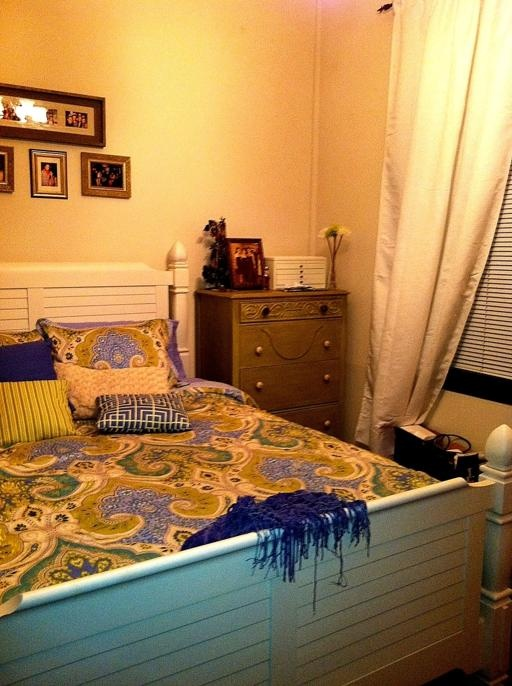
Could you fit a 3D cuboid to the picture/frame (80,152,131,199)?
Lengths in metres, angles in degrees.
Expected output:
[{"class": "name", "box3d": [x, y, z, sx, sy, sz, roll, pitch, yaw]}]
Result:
[{"class": "picture/frame", "box3d": [-0.825, -0.908, 2.791, 0.303, 0.233, 0.022, -4, 12, -32]}]

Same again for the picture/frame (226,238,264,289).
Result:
[{"class": "picture/frame", "box3d": [-0.075, -0.465, 3.077, 0.308, 0.321, 0.036, -11, 2, -37]}]
